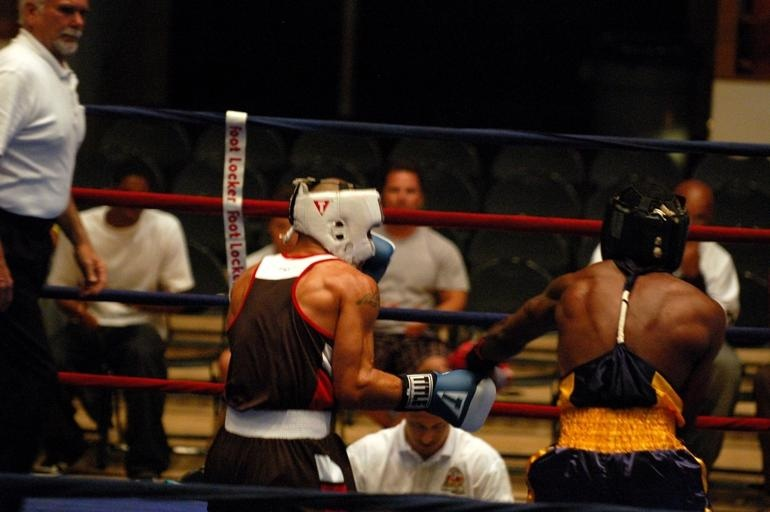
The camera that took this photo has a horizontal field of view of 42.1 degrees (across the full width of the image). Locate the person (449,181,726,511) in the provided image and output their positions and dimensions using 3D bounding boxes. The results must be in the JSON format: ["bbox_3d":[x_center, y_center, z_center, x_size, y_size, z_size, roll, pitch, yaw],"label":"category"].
[{"bbox_3d":[0.913,0.365,4.073,0.885,1.304,0.441,5,6,5],"label":"person"}]

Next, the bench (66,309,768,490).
[{"bbox_3d":[0.067,0.643,4.458,3.414,0.431,0.054,0,-15,2],"label":"bench"}]

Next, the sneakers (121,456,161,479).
[{"bbox_3d":[-1.189,1.019,4.866,0.124,0.069,0.125,4,-3,-34],"label":"sneakers"}]

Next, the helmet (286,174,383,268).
[{"bbox_3d":[-0.168,-0.141,4.350,0.471,0.364,0.354,1,1,10],"label":"helmet"}]

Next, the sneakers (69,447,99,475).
[{"bbox_3d":[-1.441,0.994,4.879,0.112,0.131,0.152,0,-7,30],"label":"sneakers"}]

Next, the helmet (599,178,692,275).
[{"bbox_3d":[1.113,-0.124,4.225,0.302,0.293,0.354,-9,24,-37],"label":"helmet"}]

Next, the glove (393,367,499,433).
[{"bbox_3d":[0.280,0.585,4.280,0.467,0.154,0.245,5,22,30],"label":"glove"}]
